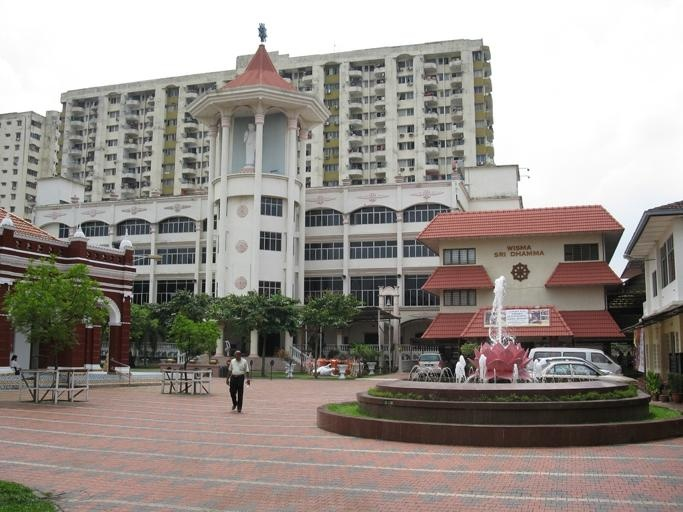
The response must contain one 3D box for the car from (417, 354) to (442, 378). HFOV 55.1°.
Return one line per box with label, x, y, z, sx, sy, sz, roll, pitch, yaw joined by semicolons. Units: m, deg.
car;5.065;6.067;37.800;1.424;1.034;3.204;0;2;13
